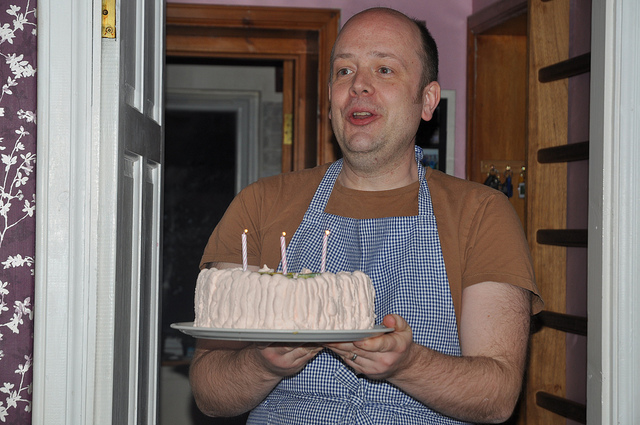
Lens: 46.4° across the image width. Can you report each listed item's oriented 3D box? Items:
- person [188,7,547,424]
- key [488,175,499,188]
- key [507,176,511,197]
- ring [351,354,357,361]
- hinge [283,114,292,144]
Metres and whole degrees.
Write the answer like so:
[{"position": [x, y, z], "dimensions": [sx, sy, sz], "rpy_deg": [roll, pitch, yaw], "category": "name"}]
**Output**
[{"position": [0.174, -0.006, 2.690], "dimensions": [1.218, 1.557, 0.709], "rpy_deg": [0, -1, 17], "category": "person"}, {"position": [1.045, -0.182, 4.469], "dimensions": [0.035, 0.102, 0.072], "rpy_deg": [16, -16, -29], "category": "key"}, {"position": [1.183, -0.155, 4.630], "dimensions": [0.016, 0.120, 0.058], "rpy_deg": [0, -1, 19], "category": "key"}, {"position": [0.111, 0.467, 2.394], "dimensions": [0.012, 0.024, 0.023], "rpy_deg": [1, -2, -34], "category": "ring"}, {"position": [-0.233, -0.595, 5.347], "dimensions": [0.060, 0.216, 0.051], "rpy_deg": [1, -1, -15], "category": "hinge"}]
